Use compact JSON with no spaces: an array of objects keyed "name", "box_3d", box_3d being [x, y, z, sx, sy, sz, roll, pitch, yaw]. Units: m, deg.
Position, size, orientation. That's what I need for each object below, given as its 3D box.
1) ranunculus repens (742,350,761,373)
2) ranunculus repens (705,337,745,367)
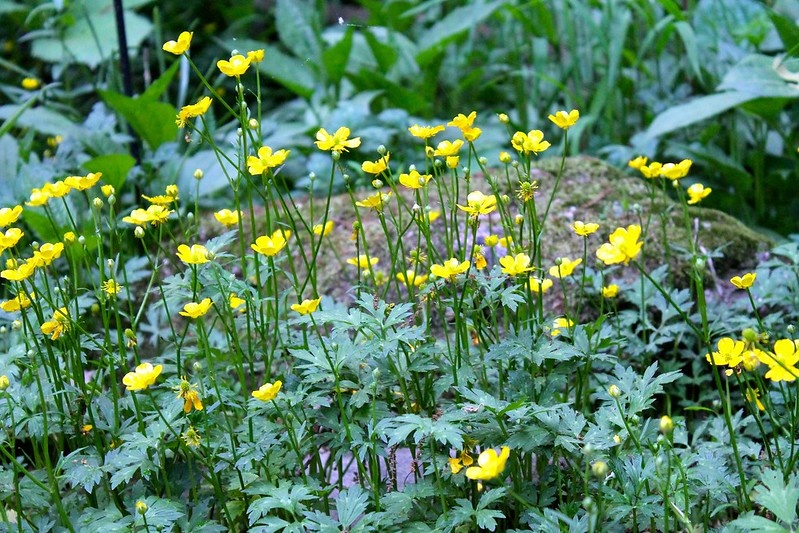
[{"name":"ranunculus repens","box_3d":[1.081,0.299,2.772,0.058,0.074,0.056,7,-6,-40]},{"name":"ranunculus repens","box_3d":[1.060,0.282,2.885,0.112,0.101,0.248,-9,-3,25]}]
